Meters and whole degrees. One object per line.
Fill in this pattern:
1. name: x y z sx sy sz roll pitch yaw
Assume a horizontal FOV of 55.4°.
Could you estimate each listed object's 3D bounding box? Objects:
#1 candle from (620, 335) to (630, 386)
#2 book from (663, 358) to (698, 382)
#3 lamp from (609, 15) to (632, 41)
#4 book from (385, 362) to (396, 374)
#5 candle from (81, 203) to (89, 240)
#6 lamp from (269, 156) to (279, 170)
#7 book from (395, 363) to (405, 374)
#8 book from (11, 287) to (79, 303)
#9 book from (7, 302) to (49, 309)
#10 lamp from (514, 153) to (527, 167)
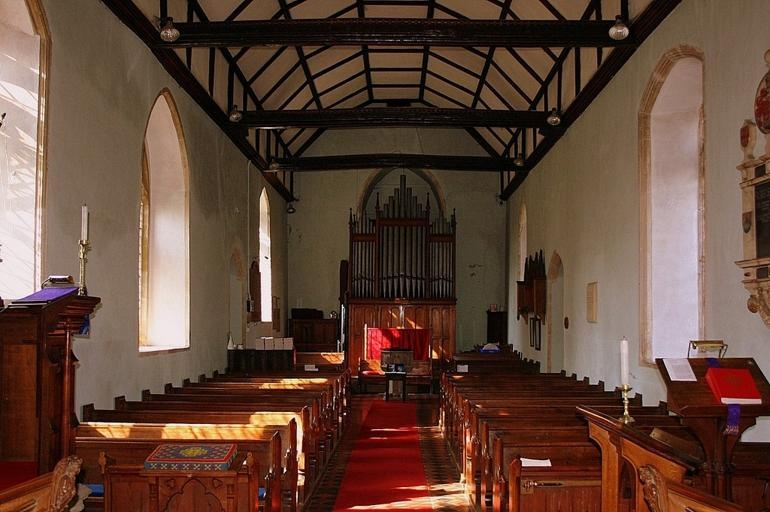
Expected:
1. candle: 2.302 1.034 7.071 0.052 0.369 0.213 0 0 24
2. book: 2.818 1.110 7.037 0.249 0.024 0.306 1 42 1
3. lamp: 3.308 -3.210 10.352 0.249 0.225 0.459 16 34 0
4. book: 0.135 2.566 16.723 0.248 0.172 0.255 -1 12 9
5. candle: -3.154 -0.345 7.774 0.050 0.421 0.310 0 0 -27
6. lamp: -2.642 -2.219 17.666 0.292 0.373 0.334 0 0 -13
7. book: 0.339 2.590 16.761 0.284 0.325 0.167 1 -7 -7
8. book: -3.516 0.412 7.652 0.619 0.208 0.386 0 -1 -27
9. book: -3.630 0.504 7.480 0.427 0.092 0.046 -1 0 4
10. lamp: 2.956 -2.050 16.193 0.314 0.167 0.405 -5 33 7
